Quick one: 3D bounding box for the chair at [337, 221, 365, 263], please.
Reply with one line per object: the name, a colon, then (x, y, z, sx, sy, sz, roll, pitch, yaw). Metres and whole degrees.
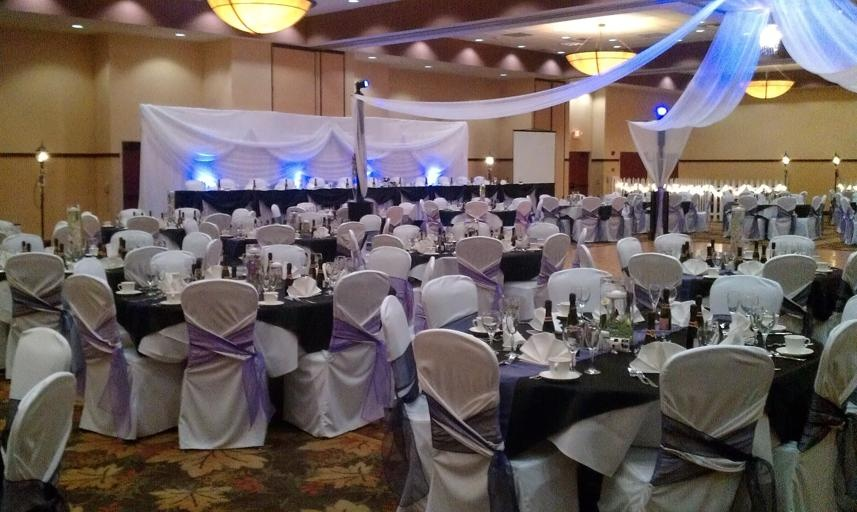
chair: (-1.128, -0.198, 8.962, 0.394, 0.591, 1.121, -1, 1, -8)

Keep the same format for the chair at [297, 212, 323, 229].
chair: (-1.998, -0.651, 10.639, 0.321, 0.258, 0.345, 1, 6, 9)

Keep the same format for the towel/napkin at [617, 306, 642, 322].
towel/napkin: (1.591, 0.467, 4.914, 0.162, 0.090, 0.221, -5, -2, 13)

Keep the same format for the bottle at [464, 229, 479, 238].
bottle: (0.625, -0.324, 8.782, 0.155, 0.155, 0.158, -1, 2, -26)

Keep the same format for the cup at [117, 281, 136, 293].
cup: (-2.867, 0.289, 5.905, 0.162, 0.127, 0.128, 0, 3, -6)

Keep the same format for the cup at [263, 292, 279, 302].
cup: (-1.413, 0.356, 5.581, 0.094, 0.070, 0.097, 0, 5, 0)

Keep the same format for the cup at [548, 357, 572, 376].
cup: (0.866, 0.731, 4.126, 0.092, 0.095, 0.119, 0, -3, 15)

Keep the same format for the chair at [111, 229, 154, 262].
chair: (-3.548, -0.177, 7.504, 0.461, 0.440, 0.467, 0, 11, -22)

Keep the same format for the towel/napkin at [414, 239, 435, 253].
towel/napkin: (-0.048, -0.127, 8.158, 0.201, 0.089, 0.210, 3, 8, 12)

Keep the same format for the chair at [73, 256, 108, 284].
chair: (-3.242, 0.137, 6.004, 0.258, 0.349, 0.189, 1, -3, -21)

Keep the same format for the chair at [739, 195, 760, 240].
chair: (7.605, -0.955, 14.988, 0.579, 1.064, 0.310, -2, 3, -34)

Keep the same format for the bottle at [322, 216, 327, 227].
bottle: (-1.752, -0.602, 10.498, 0.070, 0.174, 0.418, -1, 1, -10)

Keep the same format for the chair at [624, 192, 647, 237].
chair: (5.178, -1.067, 15.841, 0.513, 1.086, 1.178, 2, 2, 42)

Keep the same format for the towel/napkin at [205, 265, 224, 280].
towel/napkin: (-2.118, 0.169, 6.158, 0.167, 0.180, 0.184, 1, -7, -6)

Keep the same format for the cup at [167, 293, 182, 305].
cup: (-2.236, 0.381, 5.494, 0.108, 0.071, 0.108, 1, 14, 0)

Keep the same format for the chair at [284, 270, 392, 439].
chair: (-0.907, 0.784, 5.908, 0.965, 1.511, 0.914, -3, 12, -41)

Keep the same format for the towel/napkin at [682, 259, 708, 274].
towel/napkin: (2.812, 0.107, 6.610, 0.231, 0.106, 0.205, -13, 19, -21)

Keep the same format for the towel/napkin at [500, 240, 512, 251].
towel/napkin: (1.021, -0.138, 8.279, 0.181, 0.173, 0.150, -3, 11, -9)

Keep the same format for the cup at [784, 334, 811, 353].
cup: (2.637, 0.622, 4.495, 0.140, 0.109, 0.121, 3, -2, -1)

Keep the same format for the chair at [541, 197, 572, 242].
chair: (2.994, -0.971, 14.655, 0.706, 0.934, 0.731, -5, 10, 5)

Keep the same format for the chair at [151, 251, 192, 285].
chair: (-2.526, 0.062, 6.136, 0.341, 0.178, 0.422, 1, 7, -13)

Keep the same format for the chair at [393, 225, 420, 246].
chair: (-0.319, -0.296, 8.788, 0.286, 0.417, 0.326, 1, -8, -4)

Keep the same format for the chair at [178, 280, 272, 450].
chair: (-1.730, 0.882, 5.655, 0.875, 1.533, 0.917, 2, 11, 0)

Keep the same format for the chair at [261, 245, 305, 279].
chair: (-1.559, 0.032, 6.811, 0.436, 0.325, 0.398, -1, 0, -3)

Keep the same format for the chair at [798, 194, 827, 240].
chair: (9.202, -0.954, 15.317, 0.807, 1.091, 0.688, -11, 11, -40)

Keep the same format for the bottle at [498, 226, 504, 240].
bottle: (1.024, -0.304, 8.788, 0.116, 0.209, 0.095, 2, -10, -7)

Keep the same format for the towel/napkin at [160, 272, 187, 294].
towel/napkin: (-2.329, 0.243, 5.650, 0.209, 0.226, 0.219, 1, 9, 2)

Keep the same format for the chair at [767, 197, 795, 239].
chair: (8.389, -0.972, 14.923, 0.600, 0.979, 0.422, -1, 2, -31)

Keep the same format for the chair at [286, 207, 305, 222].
chair: (-2.345, -0.732, 11.013, 0.326, 0.178, 0.505, -2, 11, -4)

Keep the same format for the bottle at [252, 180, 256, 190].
bottle: (-4.111, -1.703, 14.726, 0.103, 0.283, 0.483, -1, 1, -14)

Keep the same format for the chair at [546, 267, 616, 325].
chair: (1.292, 0.341, 5.403, 0.384, 0.570, 0.430, 2, 4, 2)

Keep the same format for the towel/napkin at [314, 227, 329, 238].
towel/napkin: (-1.645, -0.362, 9.578, 0.182, 0.081, 0.193, 0, 37, -4)

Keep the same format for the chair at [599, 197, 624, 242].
chair: (4.361, -0.952, 15.148, 0.669, 1.040, 0.630, -6, 14, -24)

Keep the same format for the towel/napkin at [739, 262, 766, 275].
towel/napkin: (3.320, 0.116, 6.497, 0.162, 0.076, 0.171, -22, 24, -12)

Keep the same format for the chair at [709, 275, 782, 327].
chair: (2.618, 0.327, 5.135, 0.437, 0.632, 0.497, -1, -7, 21)

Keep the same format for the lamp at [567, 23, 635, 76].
lamp: (4.729, -5.637, 17.234, 1.863, 1.505, 2.025, 4, 15, 40)

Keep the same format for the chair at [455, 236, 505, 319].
chair: (0.624, 0.213, 7.254, 0.737, 1.237, 0.750, 0, 9, 1)

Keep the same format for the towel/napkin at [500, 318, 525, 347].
towel/napkin: (0.596, 0.551, 4.539, 0.192, 0.283, 0.150, -2, -11, 16)

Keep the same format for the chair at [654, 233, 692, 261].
chair: (2.934, -0.135, 7.541, 0.422, 0.561, 0.438, 1, 1, 20)
